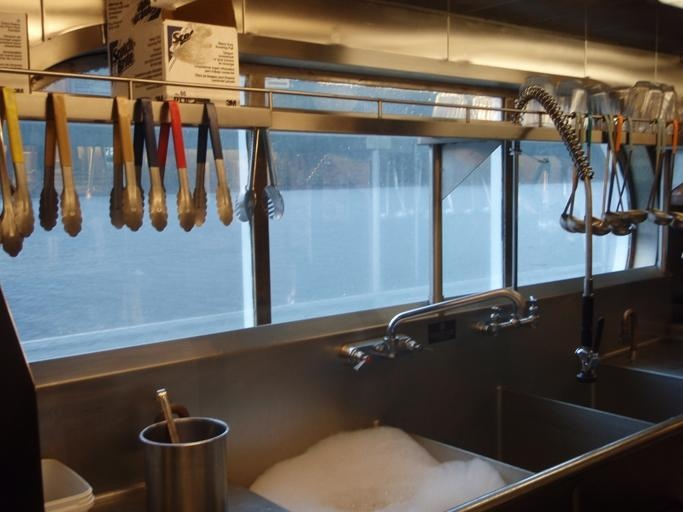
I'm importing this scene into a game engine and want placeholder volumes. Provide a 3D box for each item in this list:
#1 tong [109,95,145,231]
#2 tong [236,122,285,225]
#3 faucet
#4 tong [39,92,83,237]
[{"bbox_3d":[-0.401,-0.168,1.068,0.050,0.243,0.093,-4,16,-32],"label":"tong"},{"bbox_3d":[-0.179,-0.175,1.271,0.106,0.212,0.108,2,14,-11],"label":"tong"},{"bbox_3d":[0.398,0.206,1.861,0.505,0.137,0.099,-11,19,-5],"label":"faucet"},{"bbox_3d":[-0.540,-0.177,1.092,0.067,0.261,0.270,-3,16,-27],"label":"tong"}]
